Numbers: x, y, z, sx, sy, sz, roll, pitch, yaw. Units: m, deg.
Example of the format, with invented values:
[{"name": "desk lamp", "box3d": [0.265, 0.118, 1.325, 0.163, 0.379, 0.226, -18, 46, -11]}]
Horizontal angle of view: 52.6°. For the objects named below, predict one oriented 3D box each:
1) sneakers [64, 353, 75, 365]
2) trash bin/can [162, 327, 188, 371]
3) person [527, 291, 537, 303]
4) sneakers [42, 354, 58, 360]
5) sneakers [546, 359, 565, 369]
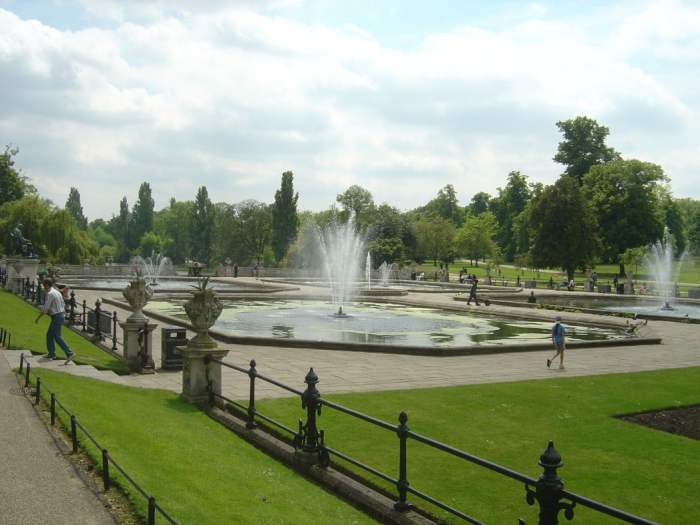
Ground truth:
[{"name": "sneakers", "box3d": [-6.432, 2.233, 16.216, 0.222, 0.275, 0.649, 3, -5, -20]}, {"name": "trash bin/can", "box3d": [-4.440, 2.192, 17.772, 0.503, 0.826, 0.723, 5, -3, -45]}, {"name": "person", "box3d": [10.972, 2.124, 42.708, 0.478, 0.822, 0.471, -6, 10, -26]}, {"name": "sneakers", "box3d": [-6.911, 2.183, 16.245, 0.279, 0.129, 0.521, 4, -3, -23]}, {"name": "sneakers", "box3d": [5.476, 2.758, 19.005, 0.214, 0.294, 0.683, 0, -6, 4]}]
